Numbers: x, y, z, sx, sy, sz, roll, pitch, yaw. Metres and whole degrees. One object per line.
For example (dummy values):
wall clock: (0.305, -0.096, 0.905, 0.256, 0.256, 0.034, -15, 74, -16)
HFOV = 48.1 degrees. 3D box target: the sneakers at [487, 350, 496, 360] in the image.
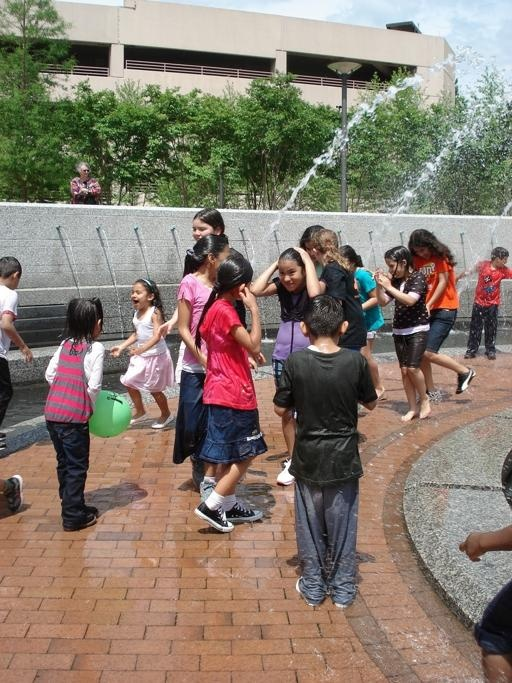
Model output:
sneakers: (4.062, 0.230, 9.858, 0.112, 0.065, 0.175, -3, 15, 7)

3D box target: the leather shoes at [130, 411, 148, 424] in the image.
leather shoes: (-1.292, 0.840, 6.238, 0.271, 0.097, 0.096, 4, -12, -39)

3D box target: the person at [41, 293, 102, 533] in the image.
person: (-1.127, 0.446, 3.567, 0.342, 1.427, 0.316, -1, 4, -15)

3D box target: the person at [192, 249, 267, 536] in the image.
person: (-0.156, 0.318, 3.445, 0.419, 1.713, 0.422, 0, 4, 0)

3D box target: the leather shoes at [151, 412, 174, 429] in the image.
leather shoes: (-1.014, 0.869, 6.153, 0.098, 0.090, 0.246, -10, -7, 20)

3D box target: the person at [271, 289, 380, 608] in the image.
person: (0.313, 0.494, 2.669, 0.465, 1.409, 0.271, 0, 4, 11)

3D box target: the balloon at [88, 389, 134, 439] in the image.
balloon: (-0.890, 0.475, 3.771, 0.307, 0.278, 0.335, 2, -13, 4)

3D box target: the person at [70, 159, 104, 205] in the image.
person: (-3.666, -3.381, 12.282, 0.543, 1.048, 1.196, -1, 3, -17)
